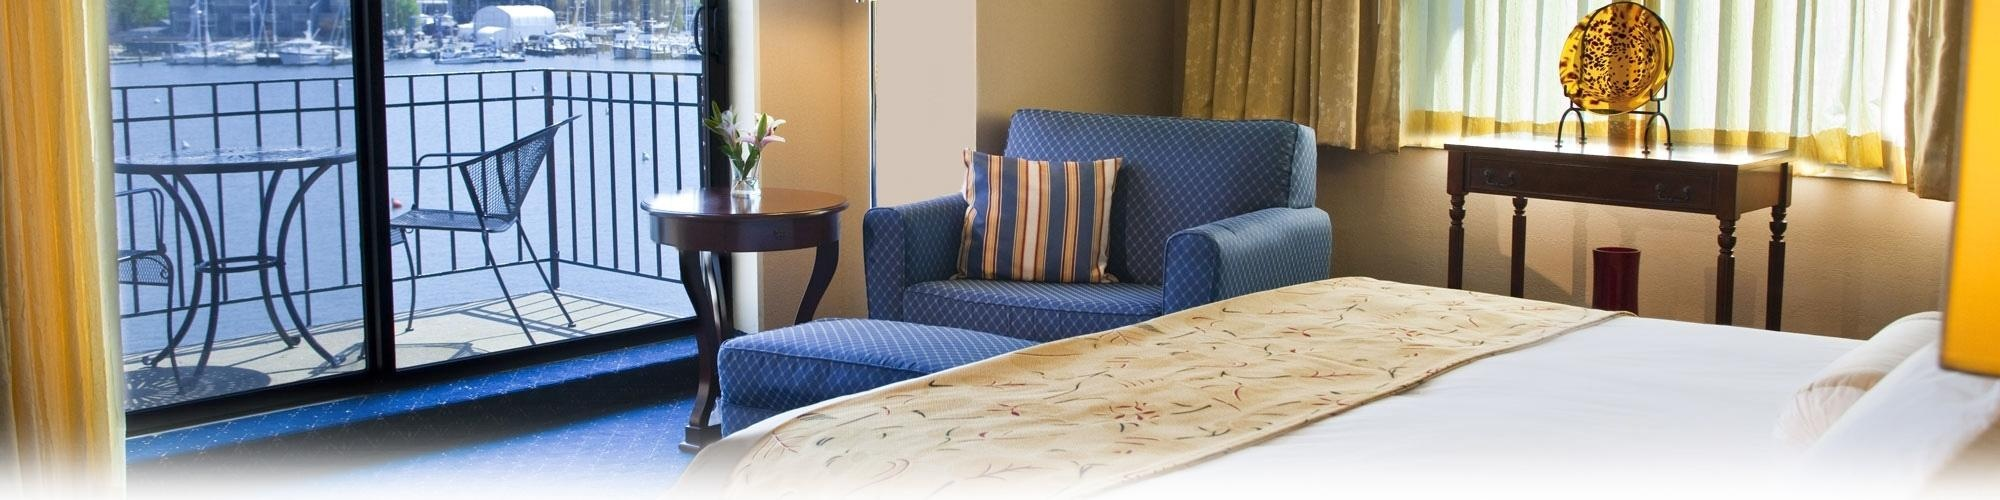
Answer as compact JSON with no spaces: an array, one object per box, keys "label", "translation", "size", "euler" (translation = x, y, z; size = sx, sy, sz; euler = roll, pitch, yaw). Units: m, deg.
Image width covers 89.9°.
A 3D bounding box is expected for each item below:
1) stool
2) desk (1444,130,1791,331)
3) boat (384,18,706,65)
[{"label":"stool","translation":[-1.148,1.001,9.300],"size":[2.008,0.481,1.845],"euler":[7,13,37]},{"label":"desk","translation":[6.106,-0.219,9.711],"size":[3.519,1.713,1.466],"euler":[3,9,30]},{"label":"boat","translation":[-4.580,-2.128,10.263],"size":[2.750,0.432,0.191],"euler":[-3,22,-11]}]
